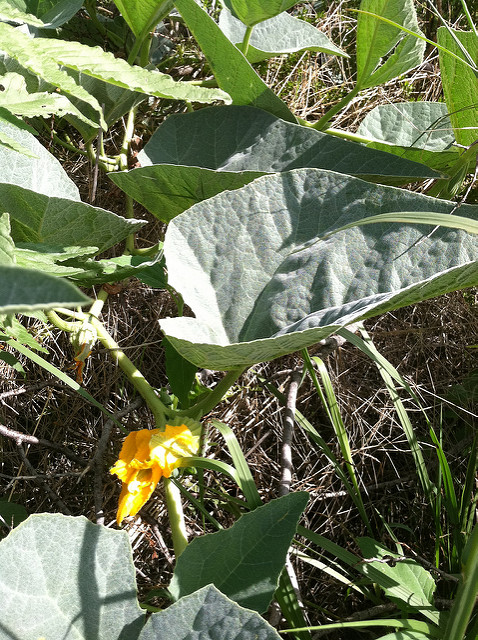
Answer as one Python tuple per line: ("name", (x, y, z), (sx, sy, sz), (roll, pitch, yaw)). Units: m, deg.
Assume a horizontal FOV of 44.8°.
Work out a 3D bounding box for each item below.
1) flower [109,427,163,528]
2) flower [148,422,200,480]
("flower", (-0.074, 0.133, 0.502), (0.044, 0.041, 0.078), (24, 71, -6))
("flower", (-0.061, 0.110, 0.493), (0.046, 0.017, 0.044), (20, 39, 13))
